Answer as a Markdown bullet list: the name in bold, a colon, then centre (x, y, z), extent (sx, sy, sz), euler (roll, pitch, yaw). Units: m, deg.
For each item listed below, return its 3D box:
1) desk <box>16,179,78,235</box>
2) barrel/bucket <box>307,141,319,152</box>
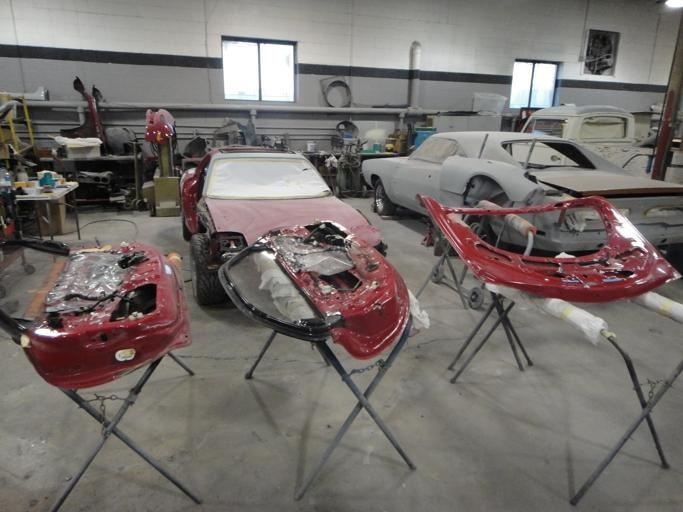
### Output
- **desk**: centre (-4.188, -0.678, 6.550), extent (0.609, 0.607, 1.022), euler (-3, 20, -14)
- **barrel/bucket**: centre (-0.689, -2.512, 10.717), extent (0.309, 0.114, 0.350), euler (-1, 21, -6)
